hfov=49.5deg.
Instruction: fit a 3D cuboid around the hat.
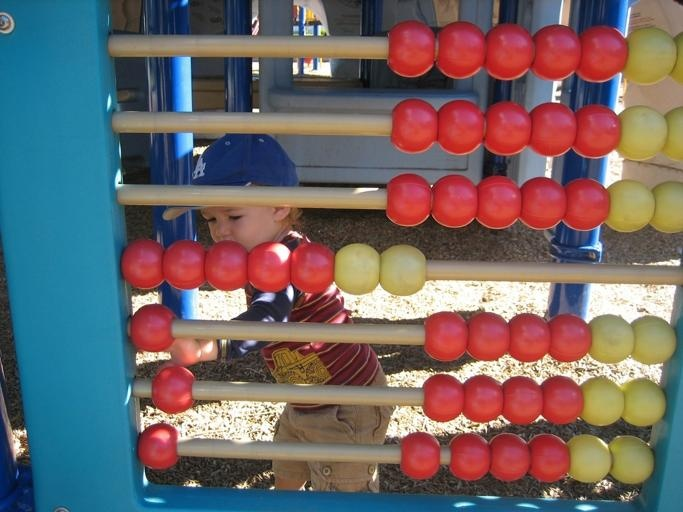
[{"bbox_3d":[-0.273,-0.207,1.952,0.292,0.222,0.180,-1,-84,-21],"label":"hat"}]
